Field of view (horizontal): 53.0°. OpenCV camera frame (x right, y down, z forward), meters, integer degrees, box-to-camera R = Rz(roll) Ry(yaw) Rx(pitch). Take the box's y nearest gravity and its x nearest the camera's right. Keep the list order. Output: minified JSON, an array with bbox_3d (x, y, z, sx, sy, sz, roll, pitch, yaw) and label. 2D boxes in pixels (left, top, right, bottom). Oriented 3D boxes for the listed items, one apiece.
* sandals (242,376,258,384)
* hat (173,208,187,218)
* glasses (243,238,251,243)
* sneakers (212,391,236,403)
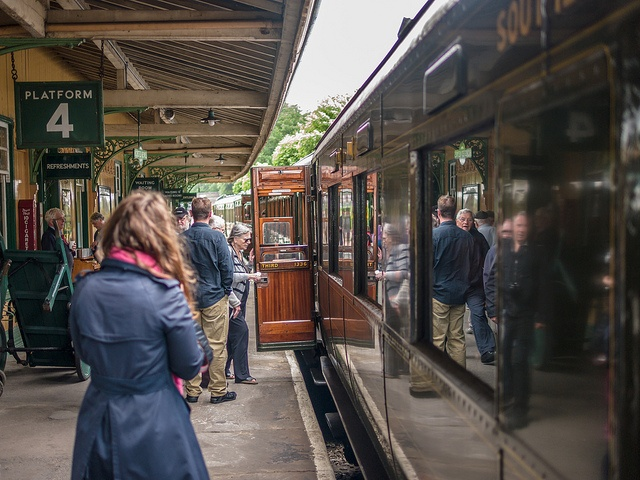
[{"bbox_3d":[-0.767,1.544,7.133,0.177,0.057,0.071,-1,0,13],"label":"sandals"},{"bbox_3d":[-1.481,-0.299,6.790,0.138,0.110,0.205,1,-7,-3],"label":"hat"},{"bbox_3d":[-0.792,-0.005,6.969,0.065,0.070,0.020,4,2,-35],"label":"glasses"},{"bbox_3d":[-0.958,1.588,6.487,0.236,0.112,0.086,-9,11,-27],"label":"sneakers"}]
